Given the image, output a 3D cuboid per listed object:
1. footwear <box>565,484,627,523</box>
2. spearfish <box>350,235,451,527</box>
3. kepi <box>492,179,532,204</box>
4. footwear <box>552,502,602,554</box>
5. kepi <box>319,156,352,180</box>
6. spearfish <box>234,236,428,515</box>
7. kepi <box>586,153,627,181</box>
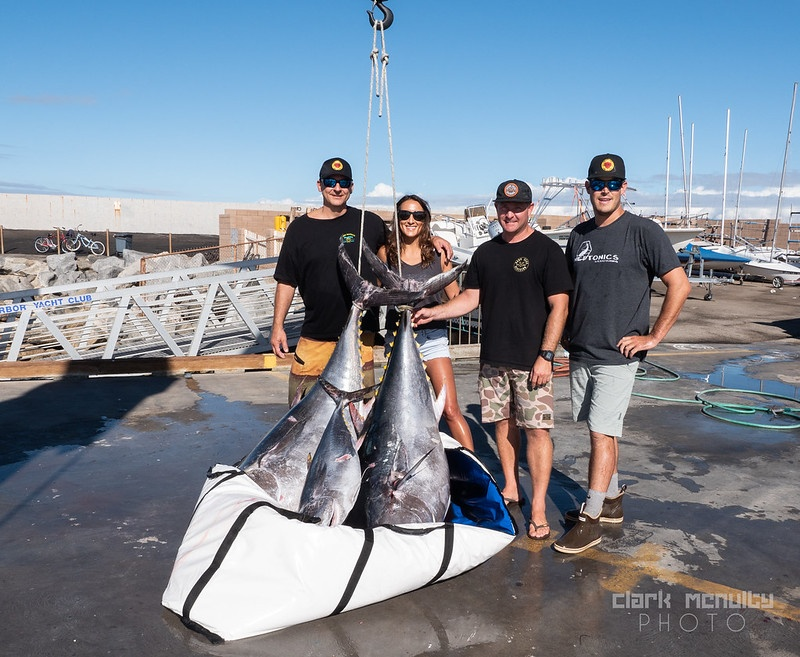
[{"bbox_3d":[1.307,1.222,3.914,0.554,0.282,0.192,0,1,-5],"label":"footwear"},{"bbox_3d":[-0.138,0.409,3.401,0.522,1.421,0.661,7,-16,-21],"label":"spearfish"},{"bbox_3d":[0.725,-0.867,3.588,0.217,0.136,0.212,2,9,7],"label":"kepi"},{"bbox_3d":[1.144,1.245,3.534,0.417,0.275,0.144,-4,11,-33],"label":"footwear"},{"bbox_3d":[-0.443,-1.088,3.851,0.208,0.135,0.209,1,9,-4],"label":"kepi"},{"bbox_3d":[-0.478,0.334,3.294,0.978,1.492,1.014,12,16,-10],"label":"spearfish"},{"bbox_3d":[1.286,-1.000,3.516,0.213,0.162,0.158,3,9,14],"label":"kepi"}]
